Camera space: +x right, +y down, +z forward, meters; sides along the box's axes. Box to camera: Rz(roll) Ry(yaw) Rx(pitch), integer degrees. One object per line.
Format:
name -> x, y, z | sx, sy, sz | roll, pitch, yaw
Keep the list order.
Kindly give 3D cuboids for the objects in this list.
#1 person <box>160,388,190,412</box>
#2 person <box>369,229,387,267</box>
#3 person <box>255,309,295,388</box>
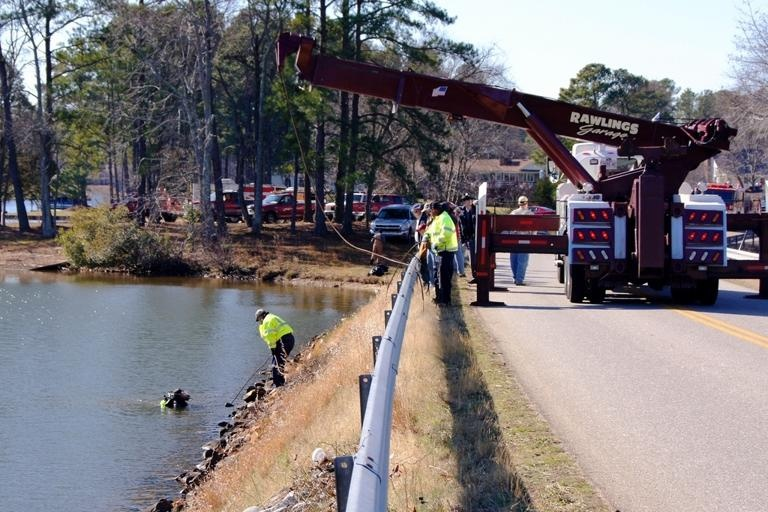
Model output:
person -> -5.389, 3.659, 25.148 | 0.766, 0.467, 0.783 | 1, 2, -14
person -> -0.181, -0.144, 34.483 | 0.345, 1.511, 0.786 | -2, 13, -10
person -> -2.832, 2.365, 25.208 | 0.900, 1.992, 1.317 | 1, 2, -5
